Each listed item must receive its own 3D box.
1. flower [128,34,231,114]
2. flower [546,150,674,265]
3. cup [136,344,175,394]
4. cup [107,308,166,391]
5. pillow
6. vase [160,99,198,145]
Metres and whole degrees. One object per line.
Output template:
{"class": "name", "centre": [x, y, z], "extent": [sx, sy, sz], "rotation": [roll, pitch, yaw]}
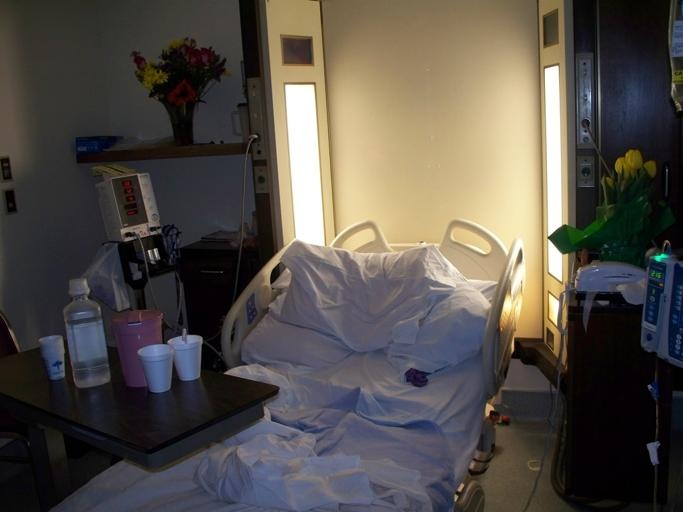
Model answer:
{"class": "flower", "centre": [-0.987, -1.115, 3.485], "extent": [0.434, 0.354, 0.463], "rotation": [-4, 12, 31]}
{"class": "flower", "centre": [1.190, -0.153, 2.418], "extent": [0.453, 0.496, 0.366], "rotation": [0, 0, 8]}
{"class": "cup", "centre": [-0.546, 0.338, 1.658], "extent": [0.098, 0.120, 0.106], "rotation": [-3, 7, 0]}
{"class": "cup", "centre": [-0.632, 0.283, 1.727], "extent": [0.145, 0.213, 0.137], "rotation": [-1, 8, 0]}
{"class": "pillow", "centre": [0.202, 0.234, 2.687], "extent": [0.838, 0.275, 0.628], "rotation": [11, 43, 29]}
{"class": "vase", "centre": [-1.028, -0.850, 3.538], "extent": [0.213, 0.298, 0.218], "rotation": [2, 19, -9]}
